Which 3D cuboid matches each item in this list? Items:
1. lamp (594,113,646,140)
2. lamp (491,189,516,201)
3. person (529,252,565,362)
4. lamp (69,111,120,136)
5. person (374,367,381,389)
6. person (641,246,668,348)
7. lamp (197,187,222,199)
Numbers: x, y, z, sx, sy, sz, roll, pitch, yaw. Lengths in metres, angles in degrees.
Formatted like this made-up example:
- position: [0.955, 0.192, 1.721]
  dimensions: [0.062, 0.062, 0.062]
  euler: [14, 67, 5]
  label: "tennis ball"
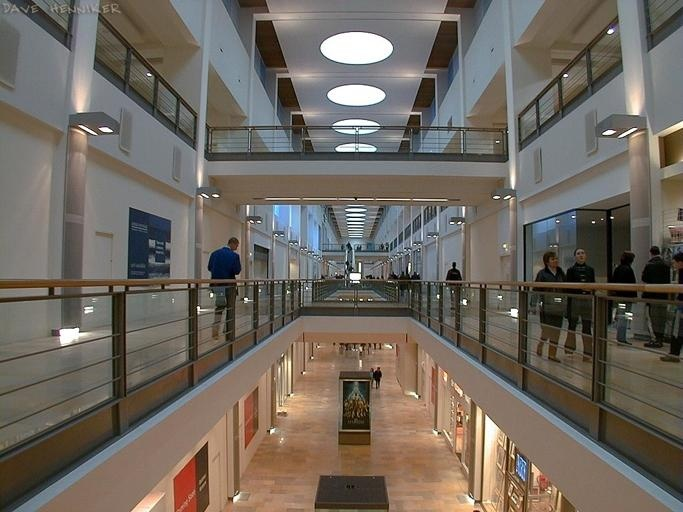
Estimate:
- position: [3.929, -1.836, 6.687]
  dimensions: [0.640, 0.269, 0.286]
  euler: [1, 0, -9]
  label: "lamp"
- position: [3.705, -1.419, 10.802]
  dimensions: [0.685, 0.183, 0.360]
  euler: [1, -1, -32]
  label: "lamp"
- position: [2.145, 0.460, 4.908]
  dimensions: [0.235, 1.035, 1.463]
  euler: [0, 0, 23]
  label: "person"
- position: [-3.354, -1.806, 6.443]
  dimensions: [0.574, 0.293, 0.339]
  euler: [1, 0, 11]
  label: "lamp"
- position: [1.327, 4.495, 17.844]
  dimensions: [0.273, 0.793, 1.166]
  euler: [0, 0, 5]
  label: "person"
- position: [2.657, 0.339, 4.047]
  dimensions: [0.221, 0.844, 0.207]
  euler: [2, -2, -14]
  label: "person"
- position: [-2.995, -1.437, 10.629]
  dimensions: [0.590, 0.193, 0.234]
  euler: [0, 0, 25]
  label: "lamp"
